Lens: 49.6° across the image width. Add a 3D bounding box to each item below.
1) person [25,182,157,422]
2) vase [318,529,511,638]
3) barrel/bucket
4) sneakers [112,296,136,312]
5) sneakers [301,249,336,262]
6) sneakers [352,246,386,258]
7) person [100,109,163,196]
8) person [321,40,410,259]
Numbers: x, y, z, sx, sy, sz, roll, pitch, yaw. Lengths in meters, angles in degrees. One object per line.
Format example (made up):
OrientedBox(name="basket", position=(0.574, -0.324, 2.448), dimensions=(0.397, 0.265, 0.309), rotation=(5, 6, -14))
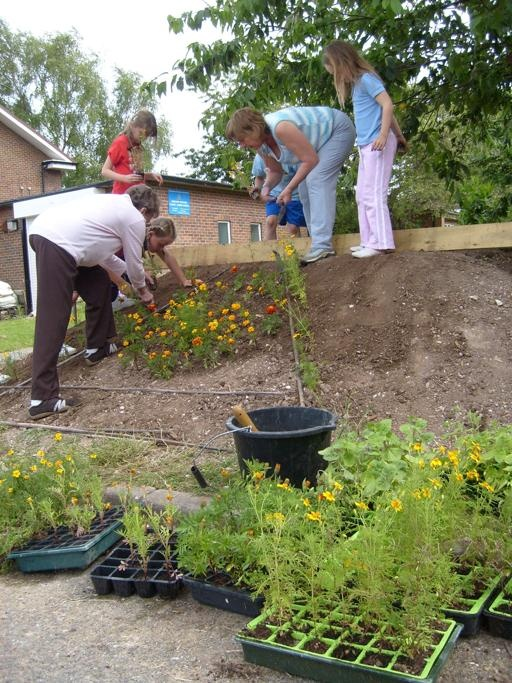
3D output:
OrientedBox(name="person", position=(-1.345, -0.396, 4.642), dimensions=(0.980, 1.931, 1.135), rotation=(0, 3, 2))
OrientedBox(name="vase", position=(0.581, 0.699, 1.662), dimensions=(0.309, 0.144, 0.442), rotation=(-16, -10, 38))
OrientedBox(name="barrel/bucket", position=(0.127, 0.417, 2.347), dimensions=(0.369, 0.244, 0.344), rotation=(-2, 1, 0))
OrientedBox(name="sneakers", position=(-1.410, -0.404, 5.955), dimensions=(0.294, 0.120, 0.097), rotation=(-23, 17, 2))
OrientedBox(name="sneakers", position=(0.540, -0.775, 5.022), dimensions=(0.305, 0.130, 0.105), rotation=(-16, 18, -6))
OrientedBox(name="sneakers", position=(0.894, -0.727, 4.549), dimensions=(0.193, 0.082, 0.098), rotation=(-1, 13, 32))
OrientedBox(name="person", position=(-1.268, -1.888, 5.647), dimensions=(0.580, 0.892, 0.811), rotation=(-1, 3, -9))
OrientedBox(name="person", position=(0.825, -1.526, 4.418), dimensions=(0.549, 1.682, 0.527), rotation=(0, 3, 13))
